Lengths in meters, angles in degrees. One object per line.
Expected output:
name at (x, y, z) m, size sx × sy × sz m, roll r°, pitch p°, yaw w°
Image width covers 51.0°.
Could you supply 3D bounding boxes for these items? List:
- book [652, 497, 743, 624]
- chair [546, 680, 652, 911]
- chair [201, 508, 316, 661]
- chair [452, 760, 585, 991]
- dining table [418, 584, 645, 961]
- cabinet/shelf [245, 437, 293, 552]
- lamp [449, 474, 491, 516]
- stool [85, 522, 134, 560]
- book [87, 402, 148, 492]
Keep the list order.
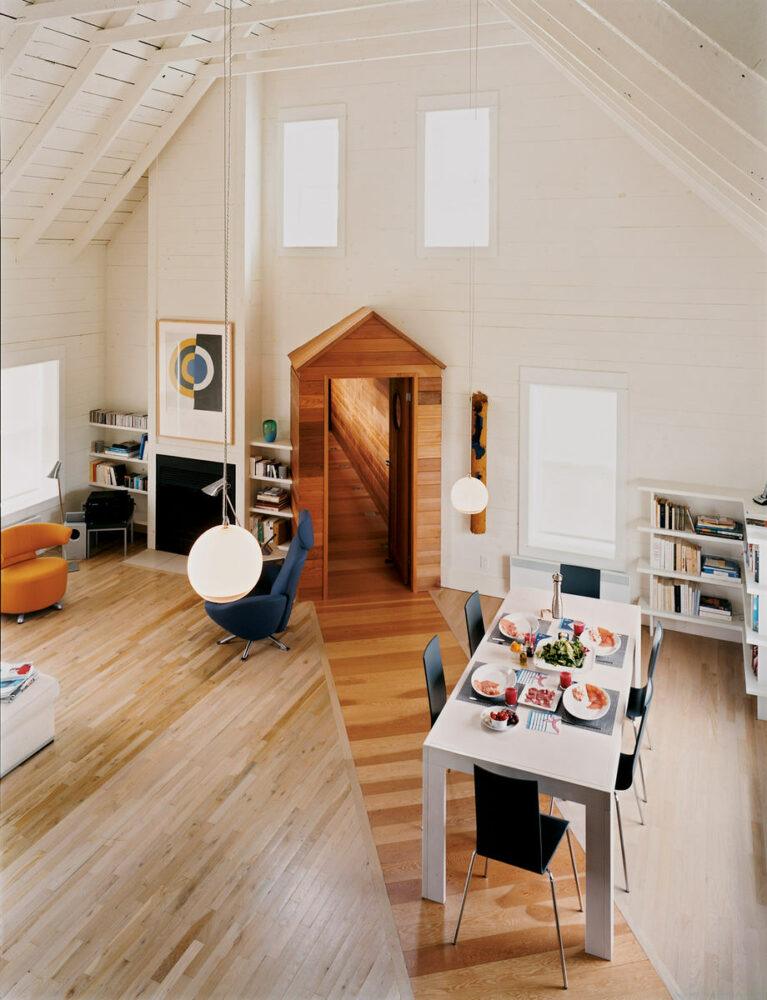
book at (2.618, 0.473, 6.643) m, size 0.983 × 0.966 × 0.299 m, roll 2°, pitch 3°, yaw 23°
chair at (1.170, 1.474, 4.390) m, size 0.503 × 0.892 × 0.494 m, roll 1°, pitch 5°, yaw 25°
chair at (-1.039, 0.700, 6.682) m, size 0.918 × 1.144 × 0.881 m, roll -3°, pitch 13°, yaw -15°
chair at (0.615, 1.743, 3.656) m, size 0.562 × 0.920 × 0.520 m, roll 12°, pitch 41°, yaw 25°
dining table at (0.920, 1.318, 4.542) m, size 0.816 × 0.690 × 2.093 m, roll 4°, pitch 11°, yaw 19°
cabinet/shelf at (-1.165, -0.071, 8.334) m, size 0.580 × 1.118 × 0.386 m, roll 6°, pitch 22°, yaw 4°
lamp at (0.603, -0.024, 5.718) m, size 0.241 × 0.267 × 0.200 m, roll -3°, pitch 14°, yaw -14°
stool at (-3.103, 0.444, 9.107) m, size 0.404 × 0.312 × 0.385 m, roll -3°, pitch 7°, yaw -19°
book at (-2.977, -0.597, 8.993) m, size 0.906 × 0.922 × 0.311 m, roll 4°, pitch 5°, yaw 27°
